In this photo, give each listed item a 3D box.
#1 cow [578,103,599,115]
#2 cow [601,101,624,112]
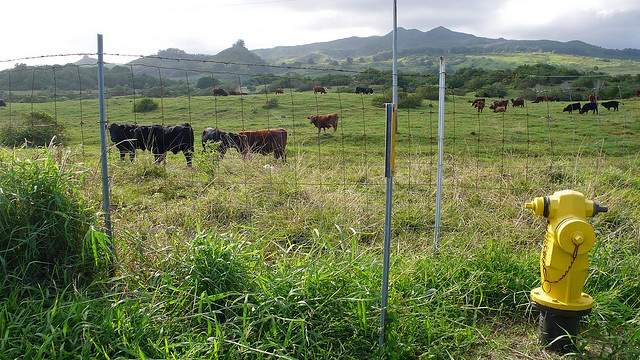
[{"bbox_3d":[18.246,-4.862,34.200,0.970,0.822,1.819,5,13,24],"label":"cow"},{"bbox_3d":[19.767,-5.017,34.182,0.979,0.754,2.992,6,13,29],"label":"cow"}]
